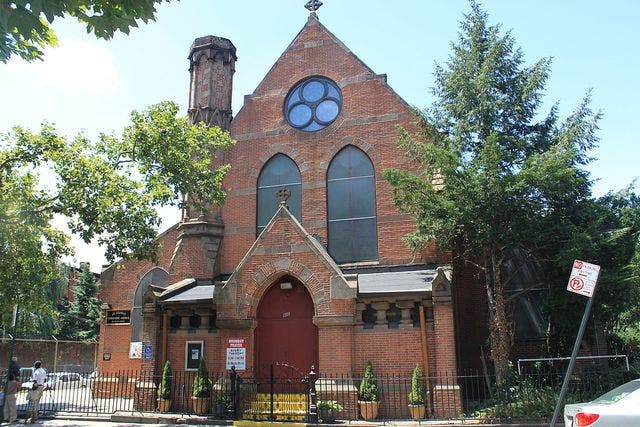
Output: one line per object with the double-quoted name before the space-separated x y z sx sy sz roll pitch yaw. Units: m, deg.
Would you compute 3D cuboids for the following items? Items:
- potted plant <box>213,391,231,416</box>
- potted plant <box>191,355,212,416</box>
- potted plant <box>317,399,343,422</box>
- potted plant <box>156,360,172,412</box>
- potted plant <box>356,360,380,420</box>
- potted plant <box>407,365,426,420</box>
"potted plant" -3.816 7.304 22.798 0.933 0.954 0.837 4 -23 -9
"potted plant" -4.714 6.916 23.681 0.794 2.179 0.591 0 -20 -1
"potted plant" 0.311 7.349 21.981 0.715 0.496 0.699 4 -24 -5
"potted plant" -6.378 7.069 24.269 0.619 2.010 0.775 5 -21 -14
"potted plant" 1.906 6.714 22.543 0.827 2.166 0.878 3 -21 -10
"potted plant" 3.632 6.693 22.245 0.681 2.016 0.999 -4 -21 9
